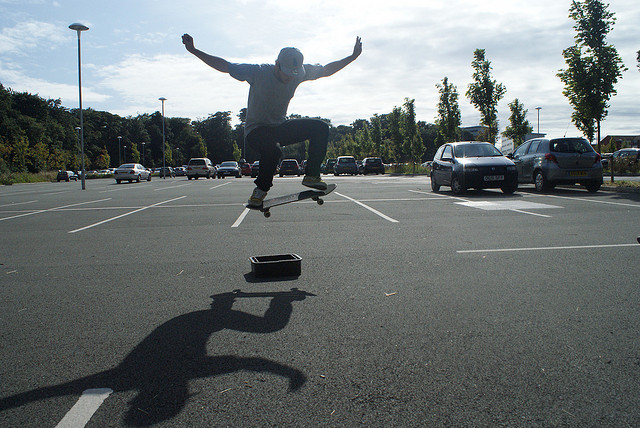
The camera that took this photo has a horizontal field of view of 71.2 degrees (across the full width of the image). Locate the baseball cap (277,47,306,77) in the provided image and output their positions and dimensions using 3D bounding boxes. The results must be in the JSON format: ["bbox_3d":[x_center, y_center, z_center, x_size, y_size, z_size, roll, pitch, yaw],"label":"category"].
[{"bbox_3d":[-0.354,-1.966,5.668,0.377,0.298,0.510,-1,34,-25],"label":"baseball cap"}]

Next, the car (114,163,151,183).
[{"bbox_3d":[-15.467,-3.322,36.551,1.957,1.623,4.442,-4,11,-17],"label":"car"}]

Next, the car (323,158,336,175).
[{"bbox_3d":[1.122,-5.441,50.819,1.200,1.187,2.160,0,14,0],"label":"car"}]

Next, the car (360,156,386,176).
[{"bbox_3d":[5.367,-4.974,46.206,1.626,1.451,2.966,-2,12,-2],"label":"car"}]

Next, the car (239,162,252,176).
[{"bbox_3d":[-8.491,-5.128,51.435,1.219,1.166,2.249,-2,17,-2],"label":"car"}]

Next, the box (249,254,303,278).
[{"bbox_3d":[-0.579,0.659,5.692,0.465,0.165,0.321,-2,8,-14],"label":"box"}]

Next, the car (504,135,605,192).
[{"bbox_3d":[8.038,-1.690,15.371,1.498,1.841,2.592,-6,11,-27],"label":"car"}]

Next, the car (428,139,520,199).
[{"bbox_3d":[5.245,-1.560,15.468,1.718,1.818,2.899,-5,11,-22],"label":"car"}]
